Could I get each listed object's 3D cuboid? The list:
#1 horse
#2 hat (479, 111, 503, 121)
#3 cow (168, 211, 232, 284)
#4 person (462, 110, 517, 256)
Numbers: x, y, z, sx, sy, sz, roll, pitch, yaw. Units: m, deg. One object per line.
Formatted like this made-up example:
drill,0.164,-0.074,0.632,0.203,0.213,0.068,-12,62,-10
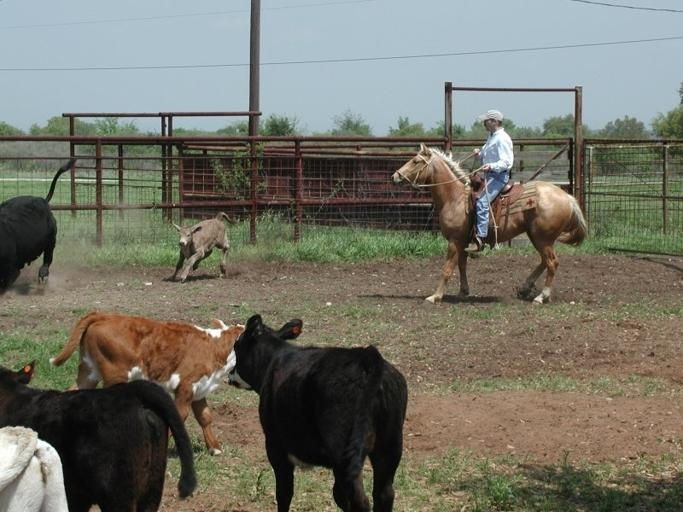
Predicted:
horse,2.511,-0.482,14.868,3.082,2.468,0.925,2,7,9
hat,2.315,-2.195,14.223,0.334,0.150,0.437,3,8,13
cow,-2.390,-0.204,15.396,0.884,1.041,1.750,1,7,-5
person,2.334,-1.151,14.362,0.664,2.254,1.318,2,7,9
